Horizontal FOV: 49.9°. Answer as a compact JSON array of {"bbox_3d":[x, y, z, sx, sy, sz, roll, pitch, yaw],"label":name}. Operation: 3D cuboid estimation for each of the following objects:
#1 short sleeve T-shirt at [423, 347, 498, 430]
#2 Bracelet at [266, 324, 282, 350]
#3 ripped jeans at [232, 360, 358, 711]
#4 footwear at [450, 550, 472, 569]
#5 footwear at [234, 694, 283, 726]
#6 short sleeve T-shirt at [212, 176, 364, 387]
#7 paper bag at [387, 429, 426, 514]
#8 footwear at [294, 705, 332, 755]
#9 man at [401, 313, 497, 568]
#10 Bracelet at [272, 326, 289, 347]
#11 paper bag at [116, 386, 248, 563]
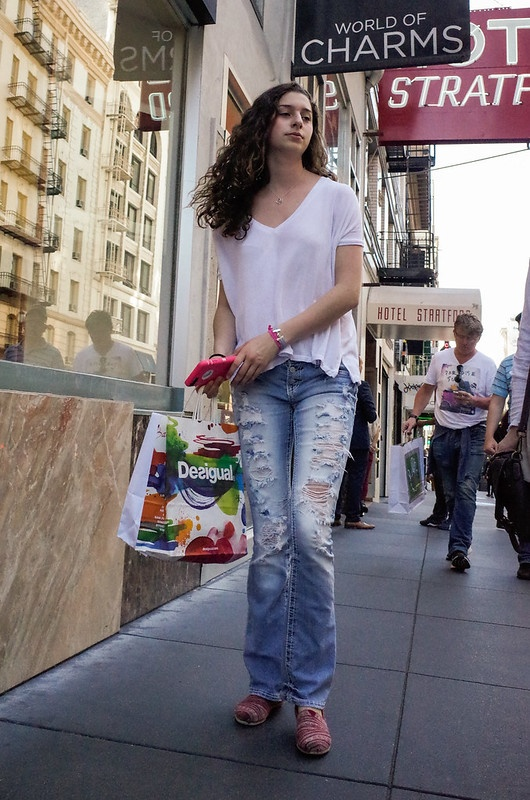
[{"bbox_3d":[1.845,-0.100,5.293,0.618,0.820,0.382,10,-11,20],"label":"short sleeve T-shirt"},{"bbox_3d":[0.025,-0.164,1.487,0.035,0.056,0.018,0,-14,-35],"label":"Bracelet"},{"bbox_3d":[0.069,0.368,1.574,0.311,0.918,0.207,-6,-13,37],"label":"ripped jeans"},{"bbox_3d":[1.601,1.302,4.610,0.084,0.121,0.241,-4,-25,5],"label":"footwear"},{"bbox_3d":[-0.030,0.841,1.556,0.055,0.068,0.143,-5,-20,19],"label":"footwear"},{"bbox_3d":[0.067,-0.335,1.586,0.409,0.687,0.335,-5,-11,8],"label":"short sleeve T-shirt"},{"bbox_3d":[1.306,0.636,5.139,0.142,0.666,0.633,-1,2,33],"label":"paper bag"},{"bbox_3d":[0.122,0.811,1.397,0.045,0.058,0.127,0,-4,0],"label":"footwear"},{"bbox_3d":[1.787,0.347,5.398,0.734,2.323,0.797,0,4,12],"label":"man"},{"bbox_3d":[0.045,-0.163,1.508,0.017,0.047,0.035,-30,2,8],"label":"Bracelet"},{"bbox_3d":[-0.181,0.255,1.623,0.309,0.400,0.158,7,-3,-42],"label":"paper bag"}]
